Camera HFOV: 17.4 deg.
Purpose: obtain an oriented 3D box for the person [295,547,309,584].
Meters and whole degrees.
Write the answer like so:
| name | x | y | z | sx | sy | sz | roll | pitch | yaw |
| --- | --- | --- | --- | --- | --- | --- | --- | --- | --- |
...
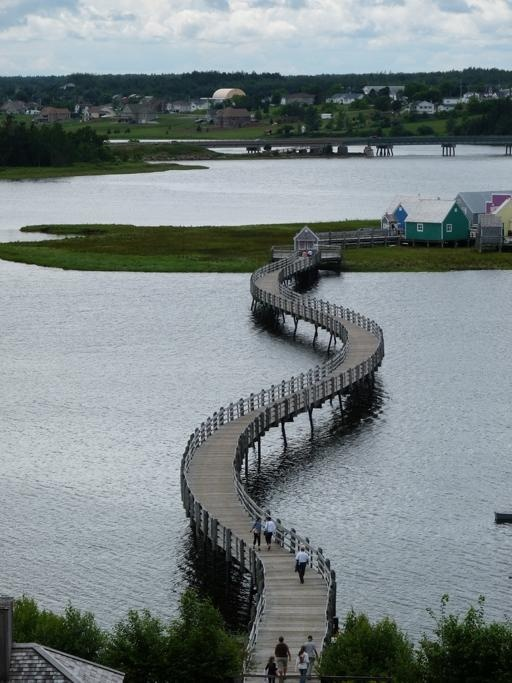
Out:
| name | x | y | z | sx | sy | sz | roll | pitch | yaw |
| --- | --- | --- | --- | --- | --- | --- | --- | --- | --- |
| person | 1.348 | 6.695 | 50.773 | 0.418 | 0.871 | 1.185 | -2 | 11 | 1 |

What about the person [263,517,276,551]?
| name | x | y | z | sx | sy | sz | roll | pitch | yaw |
| --- | --- | --- | --- | --- | --- | --- | --- | --- | --- |
| person | 0.398 | 5.997 | 52.999 | 0.405 | 1.068 | 1.075 | -2 | 11 | 0 |
